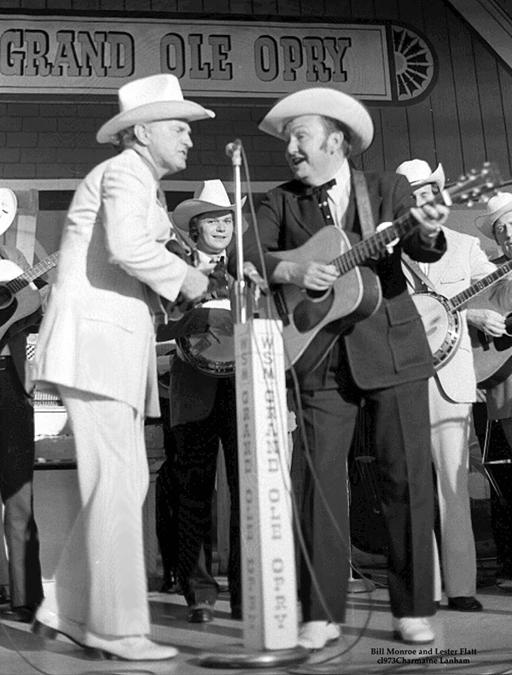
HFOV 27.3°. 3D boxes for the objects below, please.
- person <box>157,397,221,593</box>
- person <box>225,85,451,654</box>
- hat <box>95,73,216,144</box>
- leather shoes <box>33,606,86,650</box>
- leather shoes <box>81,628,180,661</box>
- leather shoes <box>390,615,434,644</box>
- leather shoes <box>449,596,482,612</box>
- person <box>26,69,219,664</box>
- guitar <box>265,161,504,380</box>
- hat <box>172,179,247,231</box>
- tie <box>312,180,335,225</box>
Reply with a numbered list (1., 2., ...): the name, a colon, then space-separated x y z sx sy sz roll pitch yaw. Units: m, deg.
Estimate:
1. person: -0.359 0.657 4.297 0.293 0.707 0.102 -7 -6 8
2. person: 0.282 0.051 3.297 0.629 1.749 0.577 -3 -10 4
3. hat: -0.345 -0.764 3.475 0.415 0.157 0.337 -14 9 -13
4. leather shoes: -0.587 0.878 3.137 0.171 0.039 0.116 24 -5 -11
5. leather shoes: -0.359 0.887 3.056 0.282 0.101 0.092 4 -11 -10
6. leather shoes: 0.466 0.871 3.133 0.099 0.067 0.131 -1 -9 -7
7. leather shoes: 0.758 0.980 3.874 0.047 0.049 0.122 13 -23 -43
8. person: -0.417 0.077 3.325 0.614 1.750 0.560 2 -4 5
9. guitar: 0.335 -0.210 3.261 0.783 0.354 0.116 -33 -19 23
10. hat: -0.214 -0.608 4.672 0.241 0.110 0.294 4 -7 -44
11. tie: 0.223 -0.450 3.516 0.074 0.130 0.038 -10 -3 28
